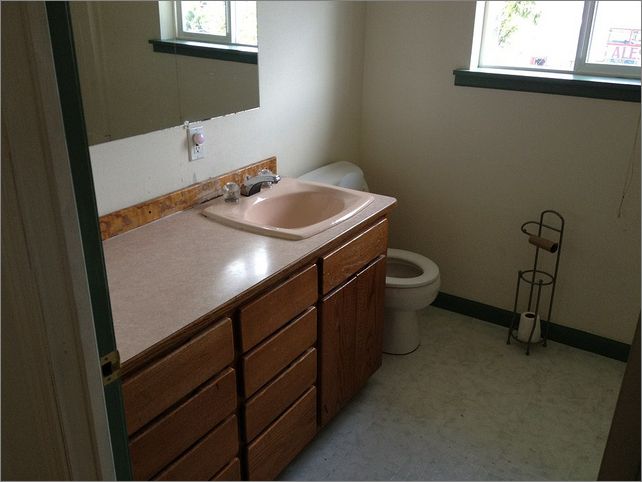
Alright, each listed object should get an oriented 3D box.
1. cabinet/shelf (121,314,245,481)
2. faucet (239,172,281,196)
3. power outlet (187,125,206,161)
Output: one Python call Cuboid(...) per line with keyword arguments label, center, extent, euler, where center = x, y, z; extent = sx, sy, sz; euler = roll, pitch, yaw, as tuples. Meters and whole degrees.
Cuboid(label="cabinet/shelf", center=(-0.399, 0.427, 1.347), extent=(0.202, 0.303, 0.408), euler=(15, 31, 28))
Cuboid(label="faucet", center=(-0.269, -0.268, 2.177), extent=(0.078, 0.060, 0.174), euler=(21, 26, 35))
Cuboid(label="power outlet", center=(-0.533, -0.419, 2.023), extent=(0.041, 0.172, 0.100), euler=(13, 22, 22))
